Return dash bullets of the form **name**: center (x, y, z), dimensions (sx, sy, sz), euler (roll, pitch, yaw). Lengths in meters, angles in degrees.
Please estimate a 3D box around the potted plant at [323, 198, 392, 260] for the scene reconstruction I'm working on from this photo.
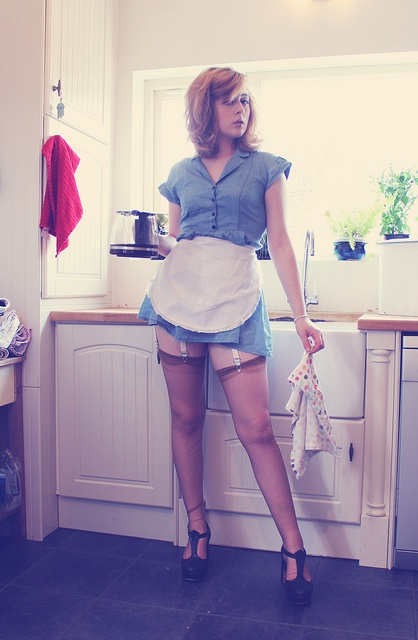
- **potted plant**: center (0.595, -0.340, 2.044), dimensions (0.179, 0.247, 0.217), euler (0, 3, 6)

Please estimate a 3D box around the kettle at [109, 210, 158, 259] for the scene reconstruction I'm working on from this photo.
- **kettle**: center (-0.182, -0.202, 1.321), dimensions (0.108, 0.136, 0.120), euler (-1, -4, 22)

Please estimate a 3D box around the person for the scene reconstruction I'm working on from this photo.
- **person**: center (0.045, 0.039, 1.352), dimensions (0.506, 1.341, 0.221), euler (1, 7, 20)

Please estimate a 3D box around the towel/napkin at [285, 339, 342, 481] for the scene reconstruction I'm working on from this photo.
- **towel/napkin**: center (0.259, 0.226, 1.310), dimensions (0.114, 0.340, 0.075), euler (-6, 2, -5)

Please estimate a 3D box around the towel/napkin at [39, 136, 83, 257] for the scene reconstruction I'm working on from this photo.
- **towel/napkin**: center (-0.488, -0.417, 1.703), dimensions (0.163, 0.395, 0.102), euler (-6, 8, -37)

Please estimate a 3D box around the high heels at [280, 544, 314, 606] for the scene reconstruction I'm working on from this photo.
- **high heels**: center (0.224, 0.642, 1.313), dimensions (0.070, 0.146, 0.145), euler (-1, 7, 3)

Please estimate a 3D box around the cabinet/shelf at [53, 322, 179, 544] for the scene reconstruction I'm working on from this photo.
- **cabinet/shelf**: center (-0.330, 0.263, 1.909), dimensions (0.398, 0.869, 0.434), euler (3, 25, -1)
